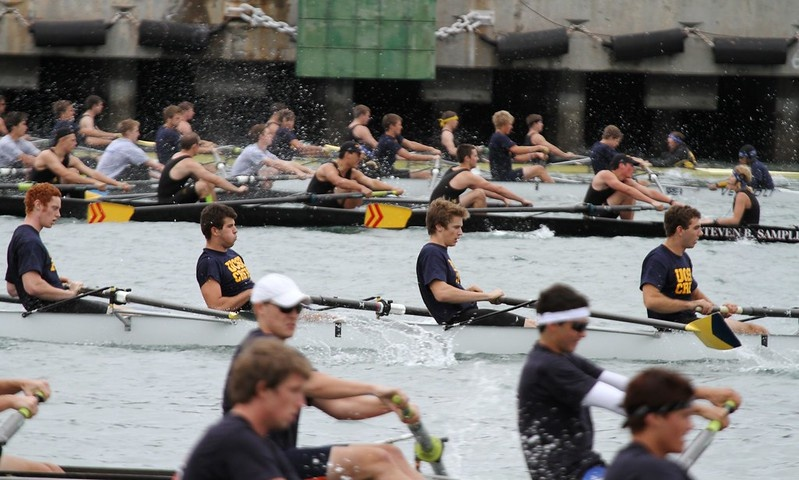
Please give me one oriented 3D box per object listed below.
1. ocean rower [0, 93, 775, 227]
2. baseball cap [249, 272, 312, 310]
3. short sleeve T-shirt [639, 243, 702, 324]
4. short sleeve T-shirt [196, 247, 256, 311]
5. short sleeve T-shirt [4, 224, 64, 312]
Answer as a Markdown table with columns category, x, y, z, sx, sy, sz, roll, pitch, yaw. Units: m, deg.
| category | x | y | z | sx | sy | sz | roll | pitch | yaw |
| --- | --- | --- | --- | --- | --- | --- | --- | --- | --- |
| ocean rower | -1.769 | -1.210 | 25.756 | 12.566 | 2.009 | 2.219 | 3 | 5 | -2 |
| baseball cap | -1.583 | 0.669 | 16.969 | 0.629 | 0.288 | 0.428 | 3 | 6 | 22 |
| short sleeve T-shirt | 4.305 | 0.684 | 20.363 | 0.770 | 1.166 | 1.332 | -1 | -3 | 40 |
| short sleeve T-shirt | -2.691 | 0.630 | 20.396 | 0.722 | 1.088 | 1.197 | -8 | 7 | 18 |
| short sleeve T-shirt | -5.826 | 0.492 | 20.549 | 0.860 | 1.226 | 1.309 | -12 | 11 | -18 |
